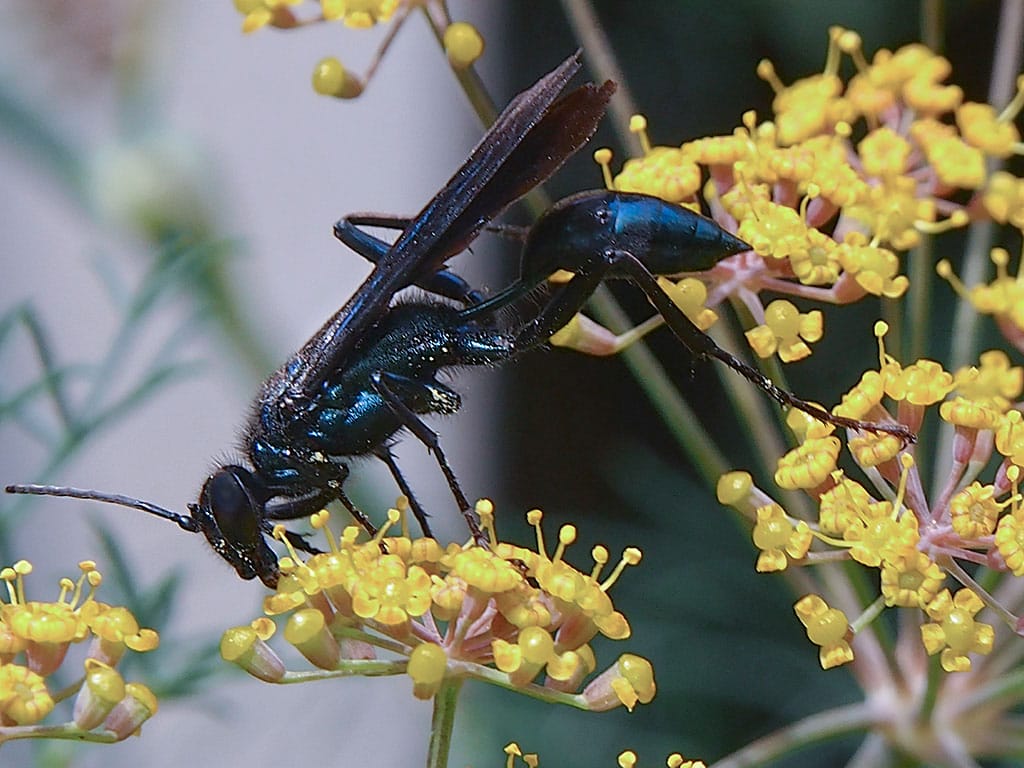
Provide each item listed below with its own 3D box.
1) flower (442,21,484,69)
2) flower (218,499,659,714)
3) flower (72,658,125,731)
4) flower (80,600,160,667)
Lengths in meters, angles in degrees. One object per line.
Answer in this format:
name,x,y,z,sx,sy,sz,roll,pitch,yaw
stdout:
flower,-0.059,-0.394,1.453,0.035,0.056,0.038,-11,-15,-36
flower,-0.073,0.247,1.361,0.304,0.114,0.285,2,-4,-16
flower,-0.451,0.338,1.369,0.056,0.061,0.026,-20,-12,2
flower,-0.446,0.275,1.434,0.031,0.075,0.075,-62,-4,-7
